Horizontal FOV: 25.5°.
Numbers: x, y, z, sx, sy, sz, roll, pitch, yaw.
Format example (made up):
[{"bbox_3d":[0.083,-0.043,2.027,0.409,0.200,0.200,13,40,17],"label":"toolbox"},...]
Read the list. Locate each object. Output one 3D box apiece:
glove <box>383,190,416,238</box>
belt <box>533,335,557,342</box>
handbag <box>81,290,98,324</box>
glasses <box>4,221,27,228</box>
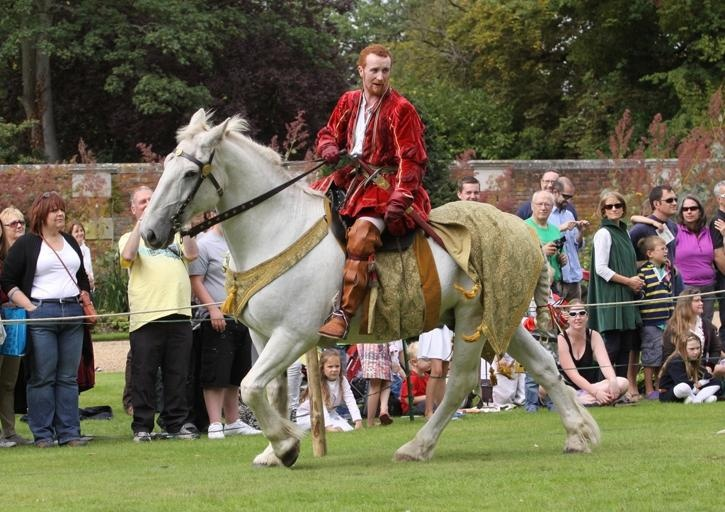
[{"bbox_3d":[0.616,-0.811,28.054,0.295,0.741,0.593,-12,3,-35],"label":"glove"},{"bbox_3d":[3.661,1.594,31.907,0.306,0.081,0.288,-1,-1,-10],"label":"belt"},{"bbox_3d":[-5.238,0.909,30.494,0.275,0.647,1.302,0,-3,-11],"label":"handbag"},{"bbox_3d":[-6.700,-0.713,30.907,0.368,0.135,0.178,2,-4,-35],"label":"glasses"}]
